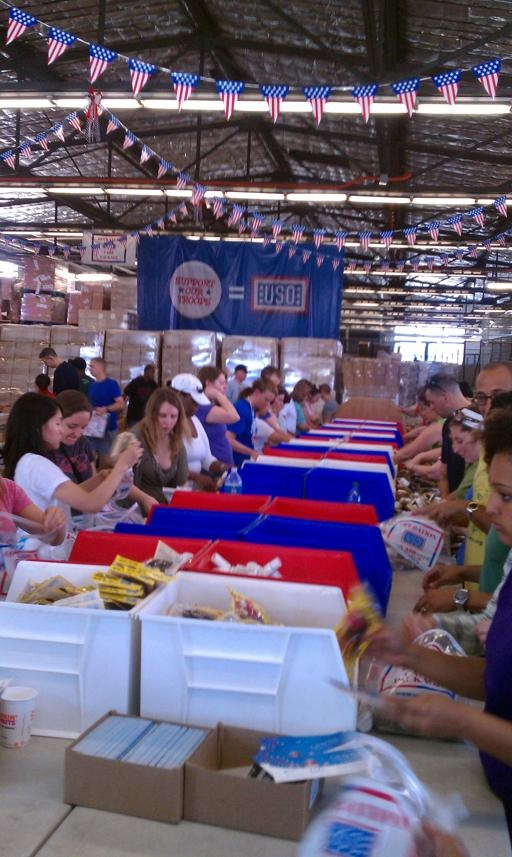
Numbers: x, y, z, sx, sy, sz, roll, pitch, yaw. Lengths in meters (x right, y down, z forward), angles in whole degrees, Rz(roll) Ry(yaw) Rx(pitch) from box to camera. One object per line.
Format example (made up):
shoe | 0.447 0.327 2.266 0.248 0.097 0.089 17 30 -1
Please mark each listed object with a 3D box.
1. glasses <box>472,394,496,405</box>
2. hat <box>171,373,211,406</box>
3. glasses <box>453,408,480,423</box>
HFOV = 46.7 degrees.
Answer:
glasses | 0.920 -0.117 2.395 0.108 0.038 0.103 6 0 -23
hat | -0.425 -0.264 4.066 0.276 0.158 0.177 30 4 -24
glasses | 0.988 -0.052 2.744 0.082 0.027 0.082 16 -2 -22
